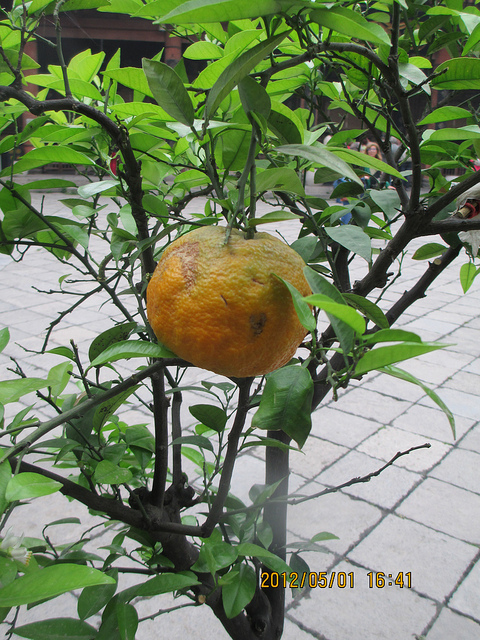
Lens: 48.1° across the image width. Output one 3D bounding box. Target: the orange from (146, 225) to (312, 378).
[{"bbox_3d":[0.003,-0.030,0.622,0.206,0.149,0.178,8,24,4],"label":"orange"}]
